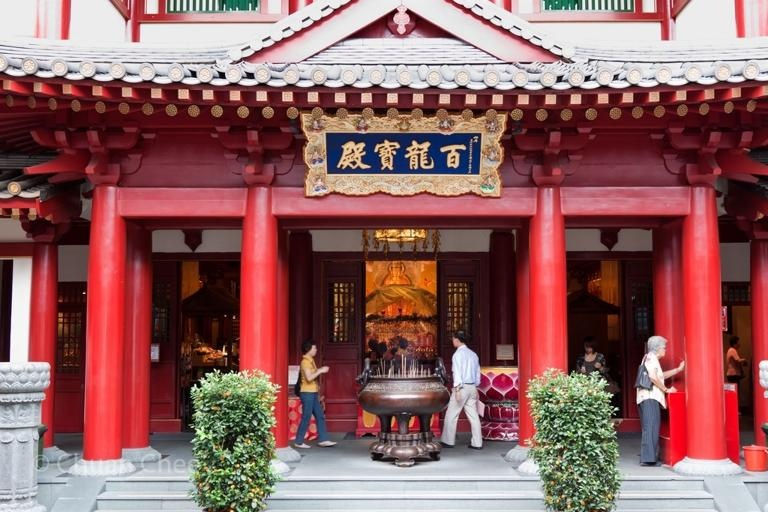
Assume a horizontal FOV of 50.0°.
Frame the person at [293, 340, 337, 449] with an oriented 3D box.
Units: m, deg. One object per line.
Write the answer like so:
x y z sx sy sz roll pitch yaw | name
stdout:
-1.073 2.113 12.642 0.609 1.588 0.739 0 -8 -4 | person

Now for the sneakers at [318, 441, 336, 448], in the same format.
-0.886 2.860 12.534 0.238 0.152 0.098 -2 -6 7 | sneakers

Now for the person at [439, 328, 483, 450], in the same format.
1.189 2.048 12.615 0.591 1.751 0.475 4 -10 -29 | person

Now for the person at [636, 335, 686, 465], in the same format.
3.745 1.963 11.277 0.573 1.754 0.443 0 -8 -6 | person

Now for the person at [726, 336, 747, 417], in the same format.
7.150 2.386 16.730 0.407 1.514 2.660 -4 -8 23 | person
